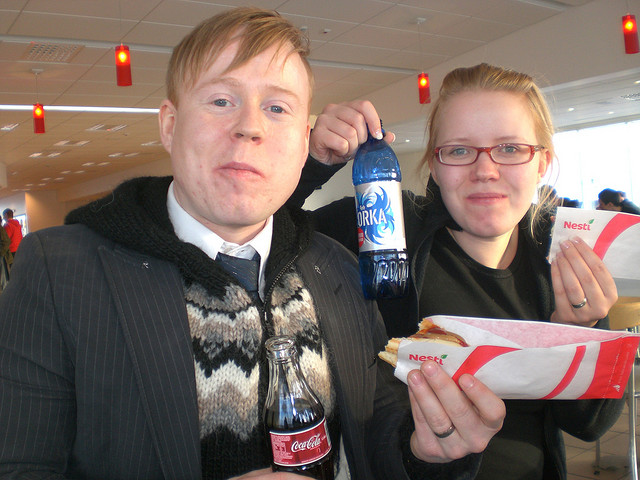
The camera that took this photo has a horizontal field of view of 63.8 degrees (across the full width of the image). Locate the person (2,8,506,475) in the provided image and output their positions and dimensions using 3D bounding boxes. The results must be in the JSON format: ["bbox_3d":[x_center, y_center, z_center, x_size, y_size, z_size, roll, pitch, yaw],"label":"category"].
[{"bbox_3d":[-0.236,0.032,1.449,1.181,1.214,0.524,-6,2,-1],"label":"person"}]

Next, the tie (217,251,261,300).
[{"bbox_3d":[-0.216,0.089,1.459,0.133,0.116,0.100,0,2,15],"label":"tie"}]

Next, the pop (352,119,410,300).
[{"bbox_3d":[0.207,-0.051,1.612,0.162,0.634,0.167,0,8,-12],"label":"pop"}]
